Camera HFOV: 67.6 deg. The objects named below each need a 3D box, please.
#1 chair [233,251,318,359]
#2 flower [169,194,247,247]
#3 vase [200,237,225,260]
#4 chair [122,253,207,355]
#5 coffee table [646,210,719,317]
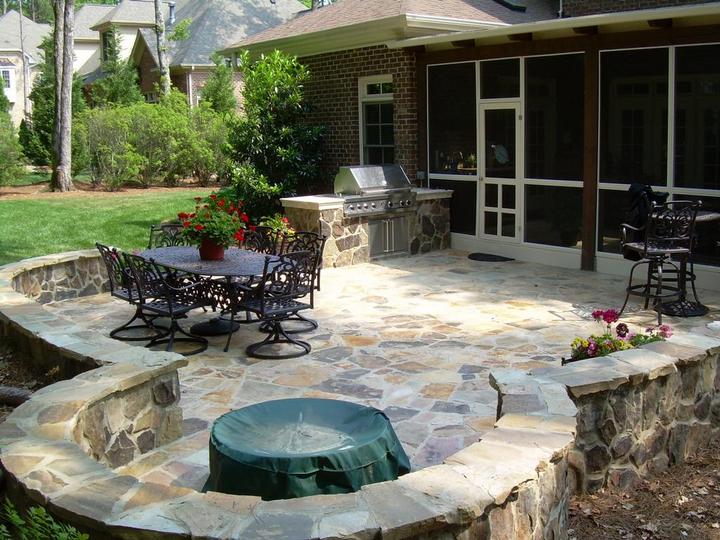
[{"bbox_3d":[-0.973,0.370,6.196,0.888,0.989,0.898,-1,1,39],"label":"chair"},{"bbox_3d":[-1.793,-0.479,6.391,0.660,0.392,0.613,-22,7,-37],"label":"flower"},{"bbox_3d":[-1.719,-0.230,6.313,0.316,0.165,0.267,-1,3,-5],"label":"vase"},{"bbox_3d":[-2.186,0.346,6.152,0.992,1.108,0.665,10,17,42],"label":"chair"},{"bbox_3d":[4.181,-0.176,6.993,0.741,1.427,1.882,6,14,30],"label":"coffee table"}]
